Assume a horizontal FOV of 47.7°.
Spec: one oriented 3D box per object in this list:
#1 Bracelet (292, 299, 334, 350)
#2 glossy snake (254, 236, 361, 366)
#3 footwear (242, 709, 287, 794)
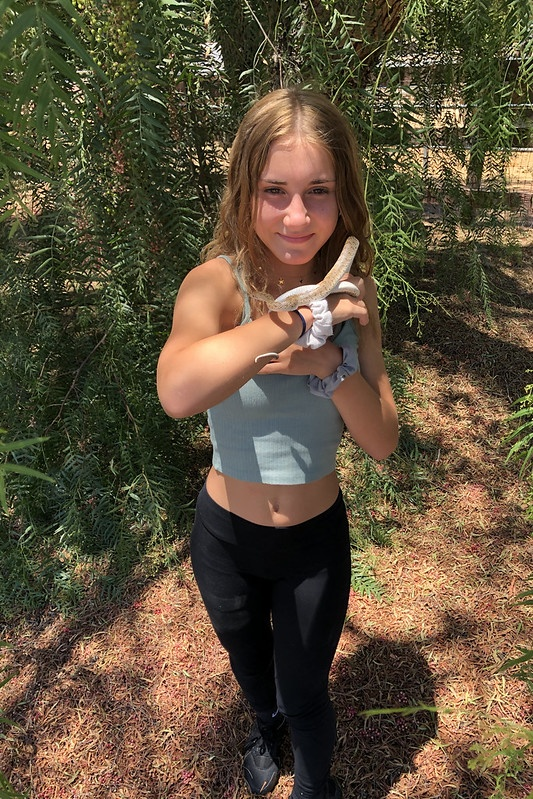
[{"bbox_3d":[0.103,-0.156,1.334,0.027,0.058,0.074,-38,-27,12],"label":"Bracelet"},{"bbox_3d":[0.126,-0.224,1.353,0.301,0.160,0.117,-50,-17,-4],"label":"glossy snake"},{"bbox_3d":[-0.011,1.198,2.043,0.126,0.112,0.321,92,-174,-47],"label":"footwear"}]
